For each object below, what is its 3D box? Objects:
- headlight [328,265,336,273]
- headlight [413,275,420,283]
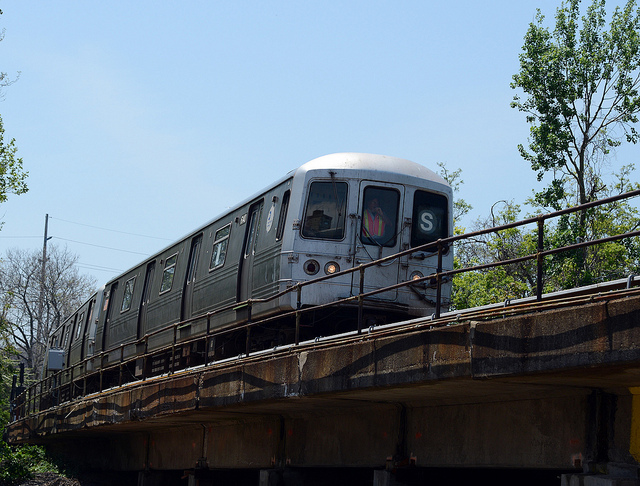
[{"bbox_3d":[0.230,0.483,13.046,0.118,0.134,0.030,0,-8,-6],"label":"headlight"},{"bbox_3d":[1.856,0.652,13.411,0.150,0.167,0.053,6,-36,10],"label":"headlight"}]
